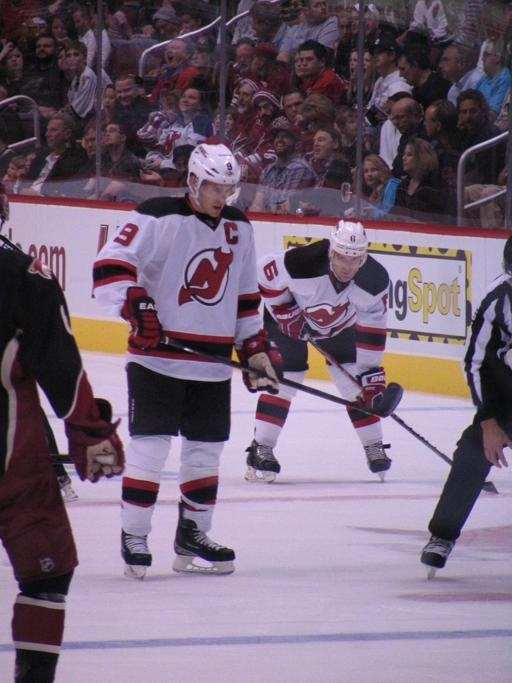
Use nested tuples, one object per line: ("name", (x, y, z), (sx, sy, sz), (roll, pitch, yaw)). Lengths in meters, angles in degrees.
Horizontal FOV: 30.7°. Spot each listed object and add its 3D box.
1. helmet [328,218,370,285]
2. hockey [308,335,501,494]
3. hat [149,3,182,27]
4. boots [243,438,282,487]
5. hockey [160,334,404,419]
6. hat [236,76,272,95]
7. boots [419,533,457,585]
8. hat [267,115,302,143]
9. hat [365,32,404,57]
("helmet", (0.386, -0.372, 3.928), (0.164, 0.258, 0.292), (2, 4, 5))
("hockey", (0.636, 0.335, 4.080), (1.128, 0.141, 0.128), (34, 47, 32))
("hat", (-0.661, -2.402, 6.887), (0.223, 0.138, 0.143), (2, 13, 20))
("boots", (0.028, 0.525, 4.002), (0.166, 0.171, 0.439), (4, -6, -17))
("hockey", (0.122, 0.149, 3.718), (1.104, 0.128, 0.158), (17, -21, -12))
("hat", (-0.011, -1.731, 6.396), (0.198, 0.081, 0.138), (6, 9, -7))
("boots", (0.514, 0.624, 2.680), (0.060, 0.068, 0.174), (18, 35, 13))
("hat", (0.188, -1.421, 6.233), (0.172, 0.209, 0.111), (6, 44, 22))
("hat", (0.783, -1.802, 5.681), (0.198, 0.059, 0.126), (11, -7, 0))
